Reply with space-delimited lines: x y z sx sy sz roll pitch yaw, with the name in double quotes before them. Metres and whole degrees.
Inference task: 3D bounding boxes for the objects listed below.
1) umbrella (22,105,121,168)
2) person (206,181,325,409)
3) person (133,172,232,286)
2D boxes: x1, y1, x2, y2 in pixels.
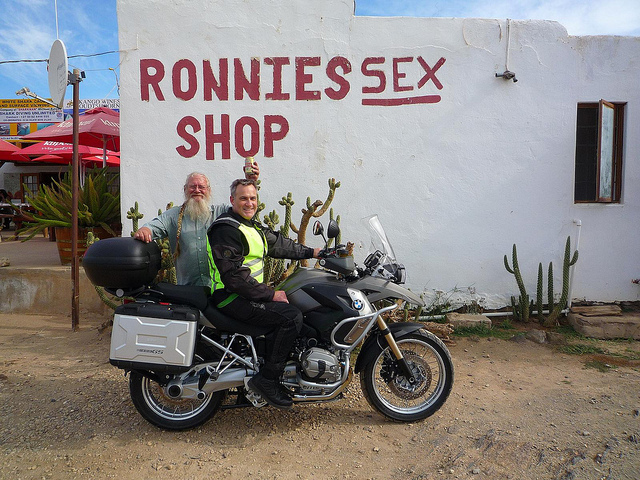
"umbrella" -4.374 -2.111 10.875 2.020 1.020 2.113 4 8 8
"person" -0.615 0.506 5.301 0.926 2.113 0.373 1 3 -3
"person" -1.553 -0.107 6.138 1.279 1.714 0.483 -1 -4 -13
